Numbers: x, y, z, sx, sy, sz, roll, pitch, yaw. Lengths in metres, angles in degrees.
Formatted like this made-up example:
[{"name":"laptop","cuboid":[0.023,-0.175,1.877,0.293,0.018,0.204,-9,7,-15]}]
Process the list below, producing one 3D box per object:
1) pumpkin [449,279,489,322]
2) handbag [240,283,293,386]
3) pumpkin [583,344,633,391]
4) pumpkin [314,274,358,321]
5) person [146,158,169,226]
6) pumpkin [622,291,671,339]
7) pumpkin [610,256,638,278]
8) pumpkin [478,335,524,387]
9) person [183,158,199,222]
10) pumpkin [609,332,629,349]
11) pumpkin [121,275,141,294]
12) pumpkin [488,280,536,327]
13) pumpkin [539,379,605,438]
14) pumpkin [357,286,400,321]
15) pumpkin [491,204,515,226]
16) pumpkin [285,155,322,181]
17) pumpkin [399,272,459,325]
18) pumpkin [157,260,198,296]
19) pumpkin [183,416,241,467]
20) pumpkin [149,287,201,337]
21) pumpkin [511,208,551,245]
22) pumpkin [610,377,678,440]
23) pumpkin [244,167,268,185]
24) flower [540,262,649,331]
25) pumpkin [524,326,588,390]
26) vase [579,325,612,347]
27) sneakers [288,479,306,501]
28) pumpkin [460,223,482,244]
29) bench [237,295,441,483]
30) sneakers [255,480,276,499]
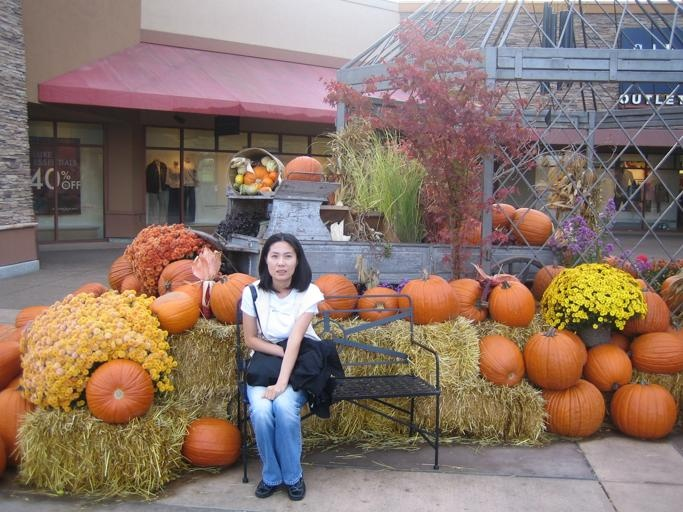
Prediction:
[{"name":"pumpkin","cuboid":[1.083,0.380,4.959,0.377,0.335,0.328,1,-35,7]},{"name":"handbag","cuboid":[-0.524,0.522,3.770,0.308,0.611,0.279,4,9,19]},{"name":"pumpkin","cuboid":[2.158,0.871,4.667,0.347,0.332,0.350,-1,-2,39]},{"name":"pumpkin","cuboid":[-0.032,0.338,4.816,0.332,0.355,0.343,-2,-18,10]},{"name":"person","cuboid":[-4.858,-1.702,15.082,0.570,1.691,0.188,-2,9,-18]},{"name":"pumpkin","cuboid":[2.637,0.476,4.994,0.406,0.389,0.423,4,-8,31]},{"name":"pumpkin","cuboid":[2.750,0.109,5.572,0.194,0.074,0.148,26,26,1]},{"name":"pumpkin","cuboid":[1.297,0.872,4.621,0.388,0.469,0.386,-1,-7,1]},{"name":"person","cuboid":[-4.098,-1.738,15.484,0.355,1.717,0.175,-2,9,-20]},{"name":"pumpkin","cuboid":[2.364,0.729,4.875,0.150,0.186,0.150,9,-14,-44]},{"name":"pumpkin","cuboid":[-1.920,0.265,5.213,0.136,0.168,0.420,-4,11,-30]},{"name":"pumpkin","cuboid":[1.435,0.398,4.997,0.361,0.442,0.369,-6,0,-40]},{"name":"pumpkin","cuboid":[1.842,1.198,4.596,0.455,0.445,0.466,-1,14,12]},{"name":"pumpkin","cuboid":[0.385,0.387,4.841,0.265,0.216,0.268,21,-7,31]},{"name":"pumpkin","cuboid":[1.674,-0.419,5.938,0.236,0.218,0.240,-5,-5,35]},{"name":"pumpkin","cuboid":[-0.379,-0.900,5.876,0.396,0.246,0.567,0,10,-5]},{"name":"pumpkin","cuboid":[0.738,0.343,4.874,0.456,0.450,0.453,-9,7,-43]},{"name":"pumpkin","cuboid":[-1.385,0.179,4.862,0.266,0.298,0.290,-6,-4,-10]},{"name":"pumpkin","cuboid":[-0.900,1.271,3.985,0.316,0.250,0.341,5,0,-1]},{"name":"pumpkin","cuboid":[-1.215,0.390,4.277,0.350,0.315,0.290,-23,3,-26]},{"name":"pumpkin","cuboid":[1.967,-0.295,6.117,0.449,0.457,0.455,0,-1,33]},{"name":"pumpkin","cuboid":[2.355,1.199,4.438,0.418,0.435,0.423,4,10,32]},{"name":"pumpkin","cuboid":[-0.859,-0.821,5.780,0.132,0.105,0.228,35,50,29]},{"name":"flower","cuboid":[1.966,0.336,4.806,0.512,0.391,0.504,-7,-1,7]},{"name":"pumpkin","cuboid":[1.711,0.801,4.625,0.456,0.489,0.486,-7,13,6]},{"name":"vase","cuboid":[2.114,0.653,4.751,0.192,0.153,0.198,-4,4,-2]},{"name":"sneakers","cuboid":[-0.279,1.462,3.582,0.110,0.102,0.082,0,9,-6]},{"name":"pumpkin","cuboid":[1.214,-0.205,5.274,0.228,0.230,0.232,5,8,32]},{"name":"bench","cuboid":[-0.031,0.927,4.059,1.416,1.121,0.553,-2,2,-17]},{"name":"sneakers","cuboid":[-0.485,1.477,3.622,0.055,0.060,0.151,2,-9,19]}]
